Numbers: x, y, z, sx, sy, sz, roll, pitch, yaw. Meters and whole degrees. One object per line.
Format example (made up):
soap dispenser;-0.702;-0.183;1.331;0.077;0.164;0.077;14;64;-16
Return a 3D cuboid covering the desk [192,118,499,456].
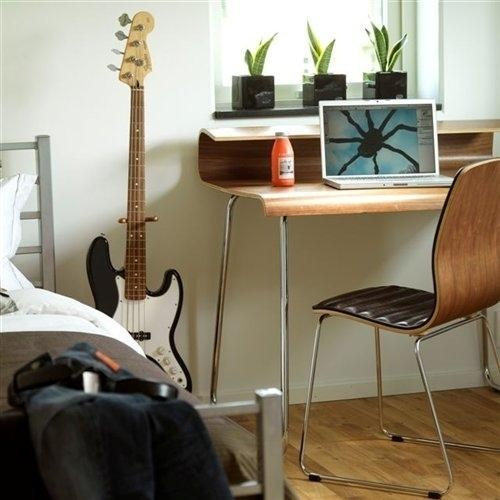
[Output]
desk;0.282;0.094;1.794;0.962;0.851;0.529;-5;11;-25

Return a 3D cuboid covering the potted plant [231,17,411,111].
potted plant;0.285;-0.726;2.109;0.724;0.376;0.273;-2;5;-5

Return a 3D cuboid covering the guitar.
guitar;-0.367;-0.077;1.755;0.345;1.323;0.137;2;20;-7

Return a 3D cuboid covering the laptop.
laptop;0.428;-0.373;1.716;0.405;0.305;0.303;0;-2;1
